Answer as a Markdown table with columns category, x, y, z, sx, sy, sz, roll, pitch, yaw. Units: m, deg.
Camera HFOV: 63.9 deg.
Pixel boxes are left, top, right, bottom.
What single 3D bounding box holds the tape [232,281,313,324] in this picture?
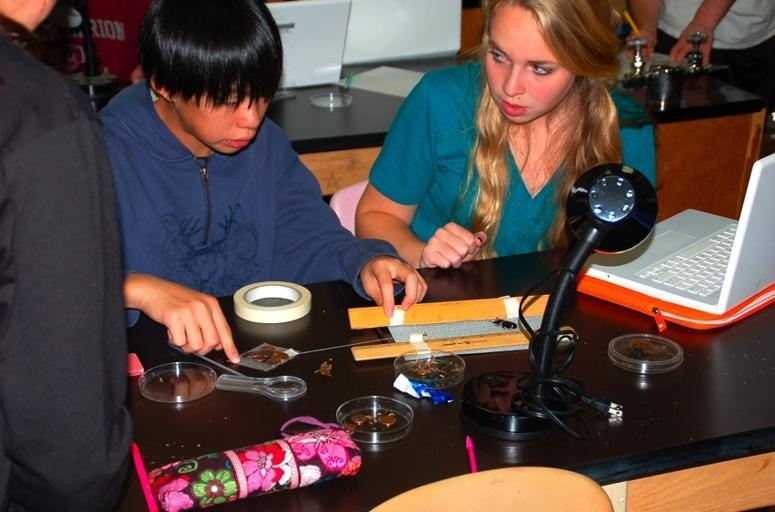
| category | x | y | z | sx | sy | sz | roll | pitch | yaw |
| --- | --- | --- | --- | --- | --- | --- | --- | --- | --- |
| tape | -0.274 | 0.109 | 1.507 | 0.185 | 0.043 | 0.189 | 13 | 22 | 34 |

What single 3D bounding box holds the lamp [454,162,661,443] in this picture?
| category | x | y | z | sx | sy | sz | roll | pitch | yaw |
| --- | --- | --- | --- | --- | --- | --- | --- | --- | --- |
| lamp | 0.318 | 0.075 | 1.149 | 0.199 | 0.405 | 0.398 | 25 | 40 | 31 |

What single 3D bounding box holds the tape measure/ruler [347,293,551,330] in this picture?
| category | x | y | z | sx | sy | sz | roll | pitch | yaw |
| --- | --- | --- | --- | --- | --- | --- | --- | --- | --- |
| tape measure/ruler | 0.139 | 0.129 | 1.442 | 0.407 | 0.056 | 0.056 | -3 | 56 | -3 |
